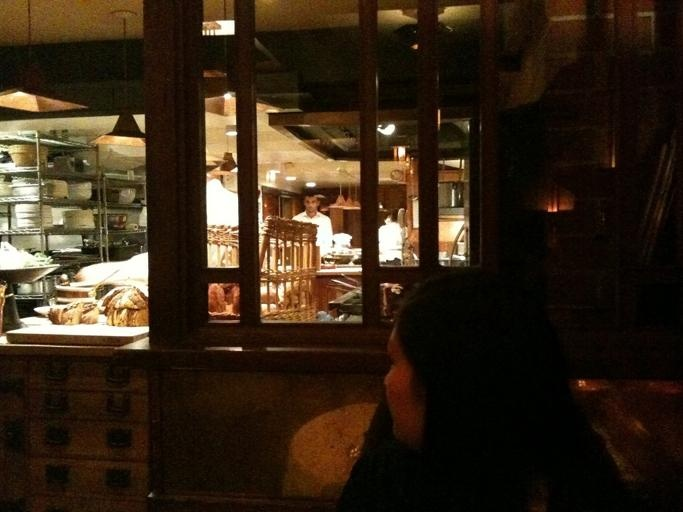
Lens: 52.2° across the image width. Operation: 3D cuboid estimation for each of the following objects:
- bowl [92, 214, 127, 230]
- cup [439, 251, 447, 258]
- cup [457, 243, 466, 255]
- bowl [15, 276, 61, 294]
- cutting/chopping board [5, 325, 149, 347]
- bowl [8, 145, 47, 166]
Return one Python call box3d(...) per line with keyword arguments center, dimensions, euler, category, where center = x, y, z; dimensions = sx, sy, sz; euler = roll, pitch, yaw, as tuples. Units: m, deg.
box3d(center=(-2.785, -0.410, 8.262), dimensions=(0.304, 0.101, 0.273), euler=(-4, -4, 39), category="bowl")
box3d(center=(0.447, -0.005, 3.092), dimensions=(0.035, 0.017, 0.030), euler=(3, 8, 22), category="cup")
box3d(center=(0.624, -0.038, 3.642), dimensions=(0.073, 0.058, 0.067), euler=(2, -15, 1), category="cup")
box3d(center=(-2.491, 0.243, 5.678), dimensions=(0.424, 0.103, 0.372), euler=(1, -3, -15), category="bowl")
box3d(center=(-1.101, 0.337, 3.009), dimensions=(0.601, 0.052, 0.276), euler=(0, 5, 17), category="cutting/chopping board")
box3d(center=(-3.153, -1.004, 7.002), dimensions=(0.334, 0.139, 0.295), euler=(-1, -1, 23), category="bowl")
